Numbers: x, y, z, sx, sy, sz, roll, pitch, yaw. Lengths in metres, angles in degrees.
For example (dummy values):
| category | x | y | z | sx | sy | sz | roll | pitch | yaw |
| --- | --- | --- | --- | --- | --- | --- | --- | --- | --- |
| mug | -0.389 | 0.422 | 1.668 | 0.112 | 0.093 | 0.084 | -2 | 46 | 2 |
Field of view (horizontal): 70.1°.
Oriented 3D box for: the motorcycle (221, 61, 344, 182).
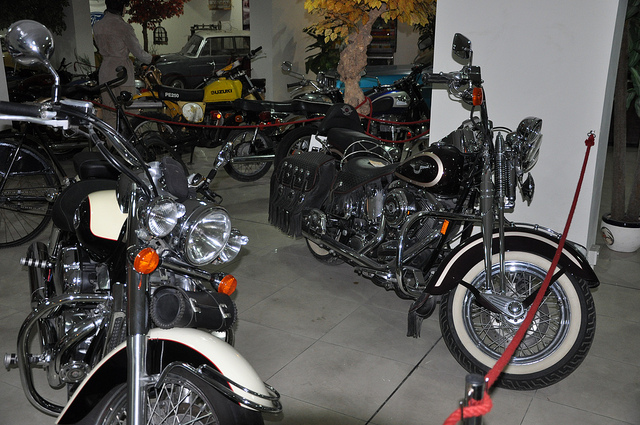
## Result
| category | x | y | z | sx | sy | sz | roll | pitch | yaw |
| --- | --- | --- | --- | --- | --- | --- | --- | --- | --- |
| motorcycle | -0.363 | -1.412 | 6.946 | 2.615 | 1.781 | 1.355 | -10 | 14 | -28 |

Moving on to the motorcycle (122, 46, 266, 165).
| category | x | y | z | sx | sy | sz | roll | pitch | yaw |
| --- | --- | --- | --- | --- | --- | --- | --- | --- | --- |
| motorcycle | -1.677 | -1.684 | 7.221 | 2.911 | 1.955 | 1.708 | 0 | 8 | 1 |

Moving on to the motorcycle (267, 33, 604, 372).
| category | x | y | z | sx | sy | sz | roll | pitch | yaw |
| --- | --- | --- | --- | --- | --- | --- | --- | --- | --- |
| motorcycle | 0.771 | -0.193 | 3.683 | 1.170 | 1.969 | 2.856 | -7 | 21 | -35 |
